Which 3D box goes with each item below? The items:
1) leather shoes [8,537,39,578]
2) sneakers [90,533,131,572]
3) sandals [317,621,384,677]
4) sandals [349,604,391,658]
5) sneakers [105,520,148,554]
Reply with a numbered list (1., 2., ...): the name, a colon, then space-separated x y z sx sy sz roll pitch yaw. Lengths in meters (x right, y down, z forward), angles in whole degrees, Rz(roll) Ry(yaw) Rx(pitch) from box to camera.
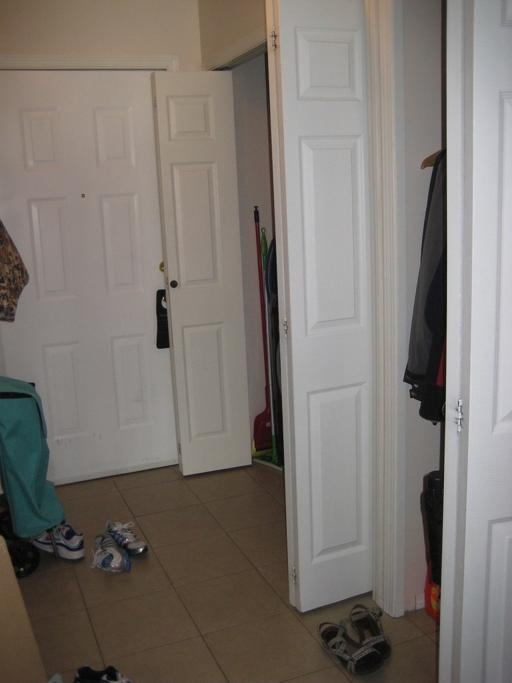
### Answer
1. leather shoes: -0.946 0.856 2.238 0.145 0.136 0.094 1 7 19
2. sneakers: -0.622 0.864 2.333 0.137 0.086 0.320 -6 9 -24
3. sandals: 0.280 0.913 1.679 0.083 0.057 0.135 -4 2 -23
4. sandals: 0.348 0.904 1.748 0.103 0.071 0.179 -23 23 3
5. sneakers: -0.561 0.839 2.445 0.080 0.113 0.245 -3 0 -31
